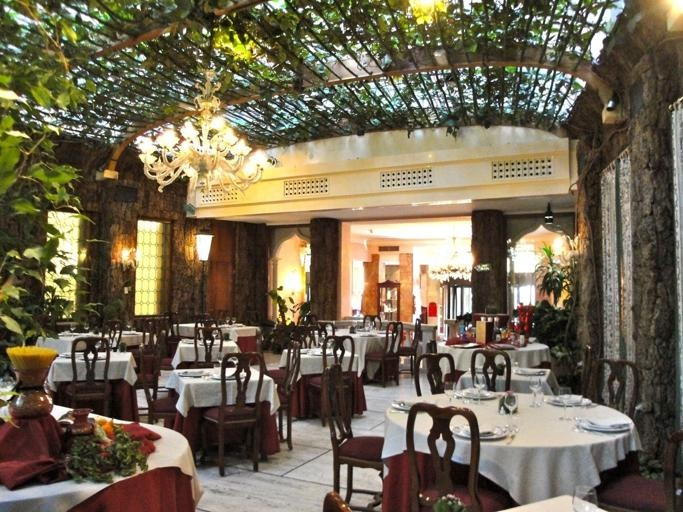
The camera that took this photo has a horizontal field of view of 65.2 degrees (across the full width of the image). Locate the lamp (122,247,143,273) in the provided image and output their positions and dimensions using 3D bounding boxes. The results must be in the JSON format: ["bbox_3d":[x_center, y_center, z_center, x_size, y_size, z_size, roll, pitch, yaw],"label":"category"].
[{"bbox_3d":[-4.390,0.095,11.172,0.340,0.540,0.413,-8,-8,32],"label":"lamp"}]

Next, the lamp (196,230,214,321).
[{"bbox_3d":[-3.169,0.385,12.182,0.373,1.801,1.409,2,-8,-14],"label":"lamp"}]

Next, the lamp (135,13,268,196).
[{"bbox_3d":[-1.727,-1.741,6.710,1.282,1.616,1.288,-1,5,-26],"label":"lamp"}]

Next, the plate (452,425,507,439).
[{"bbox_3d":[0.900,1.146,3.458,0.374,0.065,0.190,1,-9,-4],"label":"plate"}]

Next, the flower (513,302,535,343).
[{"bbox_3d":[2.801,1.020,8.314,0.382,0.552,0.402,3,6,28],"label":"flower"}]
